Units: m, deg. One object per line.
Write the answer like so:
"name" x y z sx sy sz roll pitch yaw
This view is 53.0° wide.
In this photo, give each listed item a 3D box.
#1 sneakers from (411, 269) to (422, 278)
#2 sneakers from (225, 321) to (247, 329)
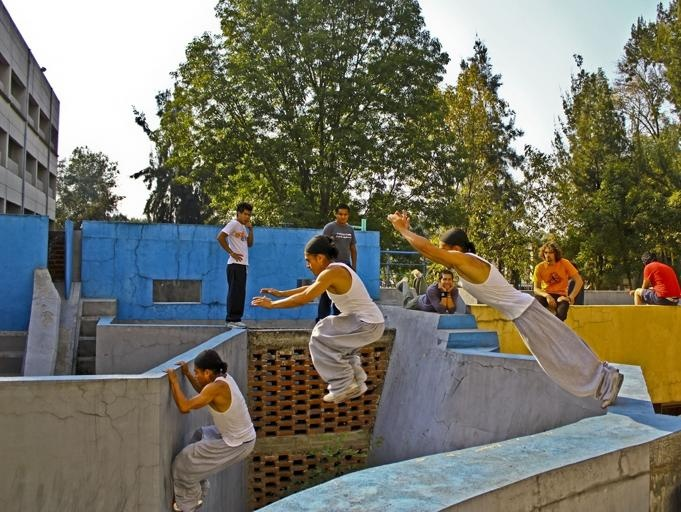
"sneakers" 1.586 0.367 14.218 0.114 0.185 0.420 -14 -7 0
"sneakers" -1.702 1.115 10.985 0.282 0.160 0.134 -3 -4 13
